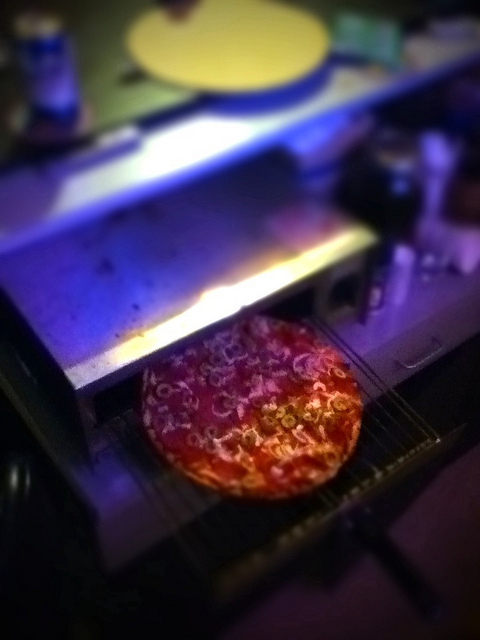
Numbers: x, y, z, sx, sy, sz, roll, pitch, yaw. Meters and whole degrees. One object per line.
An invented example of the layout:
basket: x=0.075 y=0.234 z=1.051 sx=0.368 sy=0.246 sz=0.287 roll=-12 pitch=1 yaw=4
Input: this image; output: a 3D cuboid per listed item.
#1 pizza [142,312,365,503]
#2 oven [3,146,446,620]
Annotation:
pizza: x=0.017 y=0.114 z=0.701 sx=0.225 sy=0.048 sz=0.233 roll=12 pitch=47 yaw=8
oven: x=-0.010 y=0.074 z=0.666 sx=0.551 sy=0.346 sz=0.394 roll=-16 pitch=52 yaw=-12
